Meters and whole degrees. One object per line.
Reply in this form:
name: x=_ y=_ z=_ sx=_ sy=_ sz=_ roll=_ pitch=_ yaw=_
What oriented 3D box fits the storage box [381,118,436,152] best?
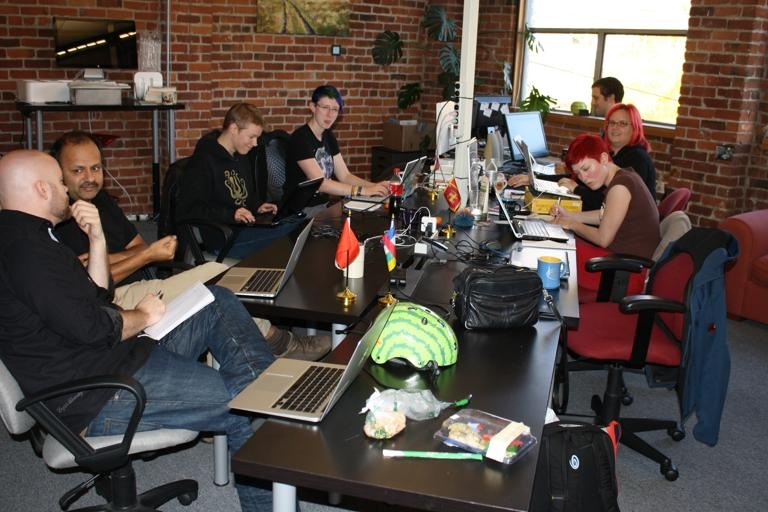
storage box: x=0.331 y=-1.650 z=7.527 sx=0.516 sy=0.313 sz=0.528 roll=10 pitch=21 yaw=24

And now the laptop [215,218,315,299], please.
laptop: x=-0.603 y=0.059 z=2.950 sx=0.413 sy=0.258 sz=0.427 roll=5 pitch=29 yaw=12

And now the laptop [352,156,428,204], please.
laptop: x=0.029 y=-0.562 z=4.211 sx=0.414 sy=0.273 sz=0.457 roll=9 pitch=24 yaw=21

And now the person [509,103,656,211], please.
person: x=1.634 y=-0.852 z=5.154 sx=1.317 sy=1.271 sz=0.740 roll=2 pitch=6 yaw=10

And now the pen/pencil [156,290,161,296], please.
pen/pencil: x=-1.141 y=0.181 z=2.968 sx=0.020 sy=0.023 sz=0.060 roll=2 pitch=3 yaw=-10

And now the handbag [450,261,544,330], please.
handbag: x=0.515 y=0.183 z=2.608 sx=0.374 sy=0.253 sz=0.274 roll=-1 pitch=14 yaw=-4

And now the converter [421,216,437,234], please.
converter: x=0.290 y=-0.217 z=3.742 sx=0.111 sy=0.102 sz=0.107 roll=6 pitch=21 yaw=11

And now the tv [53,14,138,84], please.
tv: x=-2.915 y=-2.090 z=5.851 sx=0.880 sy=0.543 sz=0.115 roll=-7 pitch=16 yaw=-28

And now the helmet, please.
helmet: x=0.127 y=0.320 z=2.345 sx=0.320 sy=0.199 sz=0.235 roll=23 pitch=20 yaw=14

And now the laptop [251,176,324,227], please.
laptop: x=-0.641 y=-0.370 z=3.962 sx=0.402 sy=0.247 sz=0.419 roll=13 pitch=28 yaw=21

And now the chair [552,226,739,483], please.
chair: x=1.429 y=0.527 z=3.182 sx=1.005 sy=1.323 sz=0.955 roll=2 pitch=24 yaw=10

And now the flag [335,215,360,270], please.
flag: x=-0.188 y=-0.068 z=3.070 sx=0.119 sy=0.303 sz=0.187 roll=0 pitch=17 yaw=-6

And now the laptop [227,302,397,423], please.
laptop: x=-0.304 y=0.446 z=2.185 sx=0.441 sy=0.264 sz=0.440 roll=8 pitch=20 yaw=16

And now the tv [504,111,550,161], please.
tv: x=1.364 y=-1.158 z=5.642 sx=0.140 sy=0.572 sz=0.838 roll=-3 pitch=15 yaw=41

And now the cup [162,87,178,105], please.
cup: x=-2.180 y=-1.659 z=6.010 sx=0.118 sy=0.168 sz=0.236 roll=3 pitch=16 yaw=4
